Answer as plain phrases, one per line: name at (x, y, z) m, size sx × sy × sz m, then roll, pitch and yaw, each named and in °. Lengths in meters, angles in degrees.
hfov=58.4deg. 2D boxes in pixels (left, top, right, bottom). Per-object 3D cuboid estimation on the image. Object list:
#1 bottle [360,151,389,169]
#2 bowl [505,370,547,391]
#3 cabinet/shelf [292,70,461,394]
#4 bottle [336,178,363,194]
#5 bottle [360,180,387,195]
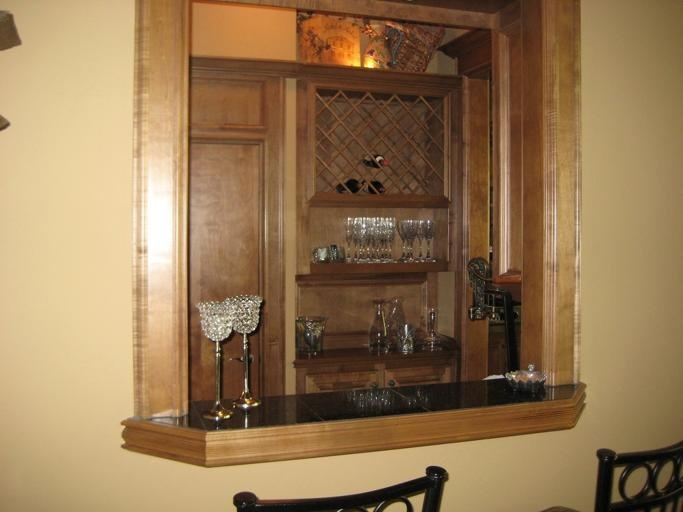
bottle at (0.220, -0.613, 4.023) m, size 0.174 × 0.097 × 0.165 m, roll 0°, pitch 5°, yaw 0°
bowl at (0.753, 0.511, 2.476) m, size 0.145 × 0.077 × 0.114 m, roll -3°, pitch 6°, yaw -31°
cabinet/shelf at (0.211, -0.074, 4.136) m, size 1.094 × 2.181 × 0.614 m, roll -1°, pitch 3°, yaw -11°
bottle at (0.062, -0.441, 3.915) m, size 0.194 × 0.096 × 0.145 m, roll -2°, pitch 6°, yaw -25°
bottle at (0.207, -0.425, 3.923) m, size 0.068 × 0.095 × 0.220 m, roll 1°, pitch 7°, yaw -19°
